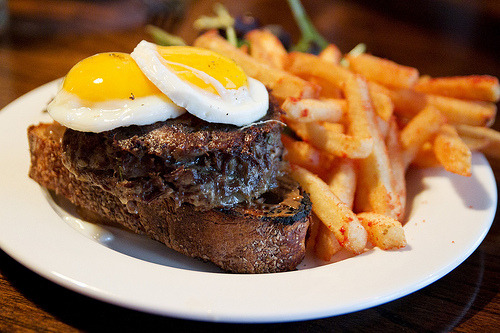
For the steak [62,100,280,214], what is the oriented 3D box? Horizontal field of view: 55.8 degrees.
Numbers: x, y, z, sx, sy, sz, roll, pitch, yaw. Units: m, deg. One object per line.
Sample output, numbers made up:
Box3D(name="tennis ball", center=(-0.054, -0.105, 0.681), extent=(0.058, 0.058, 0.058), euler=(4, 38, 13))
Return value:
Box3D(name="steak", center=(-0.428, -0.053, 2.965), extent=(1.210, 0.718, 0.632), euler=(-3, 102, -11))
